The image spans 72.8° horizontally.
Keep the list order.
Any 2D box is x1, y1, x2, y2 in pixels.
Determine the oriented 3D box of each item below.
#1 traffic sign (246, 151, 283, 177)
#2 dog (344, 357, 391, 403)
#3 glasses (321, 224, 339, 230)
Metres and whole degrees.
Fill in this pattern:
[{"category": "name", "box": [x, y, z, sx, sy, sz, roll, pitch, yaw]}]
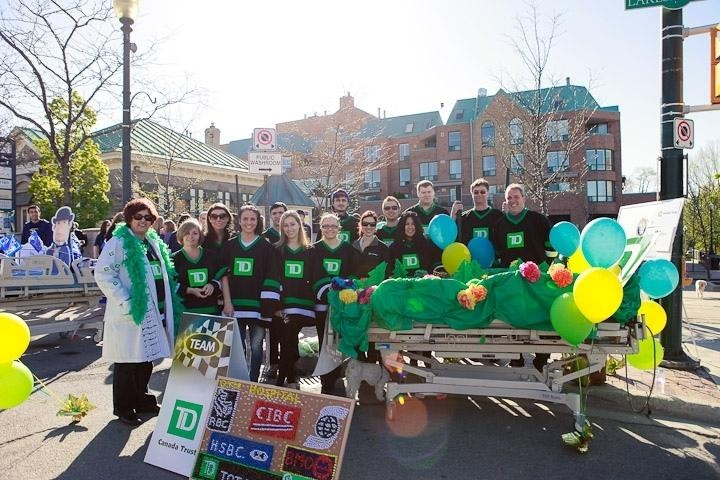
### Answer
[{"category": "traffic sign", "box": [-2.048, -1.621, 10.357, 0.698, 0.489, 0.431, -3, 8, -14]}, {"category": "dog", "box": [0.042, 1.917, 6.875, 0.830, 0.628, 0.352, -1, 2, -12]}, {"category": "glasses", "box": [-0.451, -0.198, 7.297, 0.263, 0.083, 0.128, -3, 8, -13]}]
